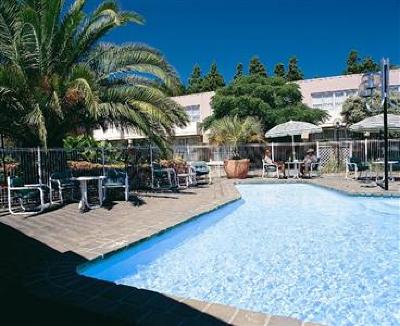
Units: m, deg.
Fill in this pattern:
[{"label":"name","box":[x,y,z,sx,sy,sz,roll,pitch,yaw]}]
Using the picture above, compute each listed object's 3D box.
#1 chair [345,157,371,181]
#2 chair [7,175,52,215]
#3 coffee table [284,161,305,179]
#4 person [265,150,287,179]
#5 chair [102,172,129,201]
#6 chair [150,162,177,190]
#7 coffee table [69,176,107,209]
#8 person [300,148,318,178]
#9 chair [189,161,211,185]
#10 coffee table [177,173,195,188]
[{"label":"chair","box":[8.033,0.329,15.265,1.157,1.037,0.686,0,-2,-40]},{"label":"chair","box":[-4.788,0.862,8.470,1.052,1.056,1.087,1,3,4]},{"label":"coffee table","box":[5.585,0.407,17.329,1.205,0.844,1.251,-1,-1,-6]},{"label":"person","box":[3.938,0.072,15.951,1.075,1.596,0.863,-6,12,18]},{"label":"chair","box":[-2.876,0.701,10.265,0.849,1.199,1.024,1,-6,-11]},{"label":"chair","box":[-1.630,0.570,13.648,1.118,1.320,1.144,0,-1,14]},{"label":"coffee table","box":[-3.182,0.872,8.898,0.720,0.929,0.861,-4,-1,-11]},{"label":"person","box":[5.764,0.011,15.971,0.809,1.638,0.839,10,-9,-11]},{"label":"chair","box":[0.037,0.485,14.672,1.011,1.081,0.964,-4,5,-34]},{"label":"coffee table","box":[-0.647,0.693,14.282,0.816,0.781,3.011,-1,6,-4]}]
